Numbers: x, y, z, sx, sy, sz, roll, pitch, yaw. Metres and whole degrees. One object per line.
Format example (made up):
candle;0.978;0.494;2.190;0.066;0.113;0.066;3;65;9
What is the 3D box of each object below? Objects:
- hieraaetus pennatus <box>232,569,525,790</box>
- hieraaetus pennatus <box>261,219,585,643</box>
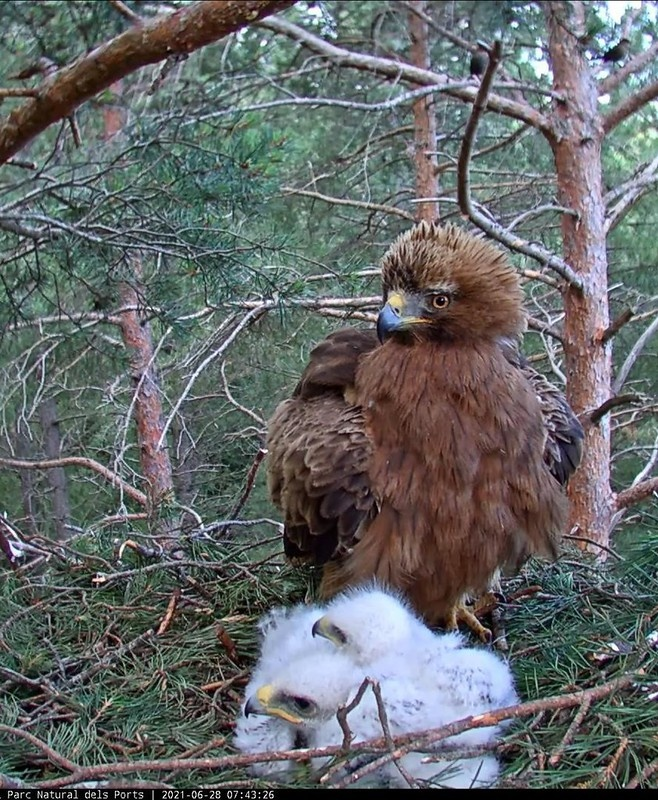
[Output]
hieraaetus pennatus;0.148;0.933;3.562;0.934;0.485;0.767;1;9;7
hieraaetus pennatus;0.336;0.111;4.148;1.106;1.561;0.651;1;11;13
